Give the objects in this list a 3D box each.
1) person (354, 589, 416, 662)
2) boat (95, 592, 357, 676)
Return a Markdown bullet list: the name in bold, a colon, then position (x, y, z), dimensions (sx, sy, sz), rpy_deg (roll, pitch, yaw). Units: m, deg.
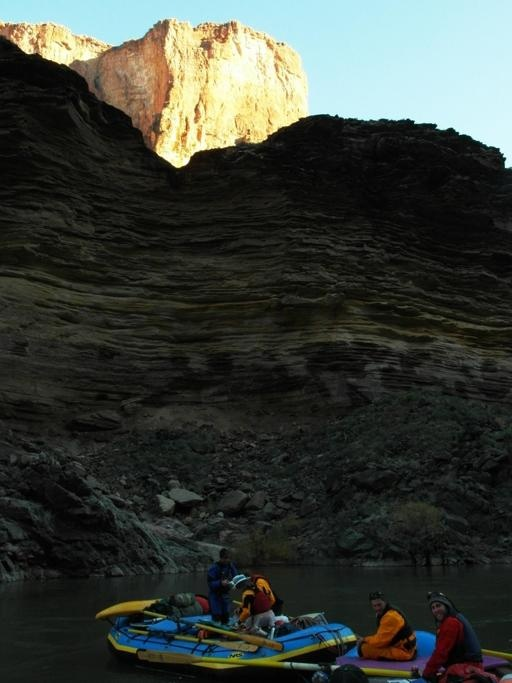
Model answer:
- **person**: position (1.871, 4.209, 12.262), dimensions (0.998, 0.904, 0.772), rpy_deg (8, -13, -12)
- **boat**: position (-0.580, 4.454, 13.054), dimensions (2.825, 0.580, 1.402), rpy_deg (-3, -21, 24)
